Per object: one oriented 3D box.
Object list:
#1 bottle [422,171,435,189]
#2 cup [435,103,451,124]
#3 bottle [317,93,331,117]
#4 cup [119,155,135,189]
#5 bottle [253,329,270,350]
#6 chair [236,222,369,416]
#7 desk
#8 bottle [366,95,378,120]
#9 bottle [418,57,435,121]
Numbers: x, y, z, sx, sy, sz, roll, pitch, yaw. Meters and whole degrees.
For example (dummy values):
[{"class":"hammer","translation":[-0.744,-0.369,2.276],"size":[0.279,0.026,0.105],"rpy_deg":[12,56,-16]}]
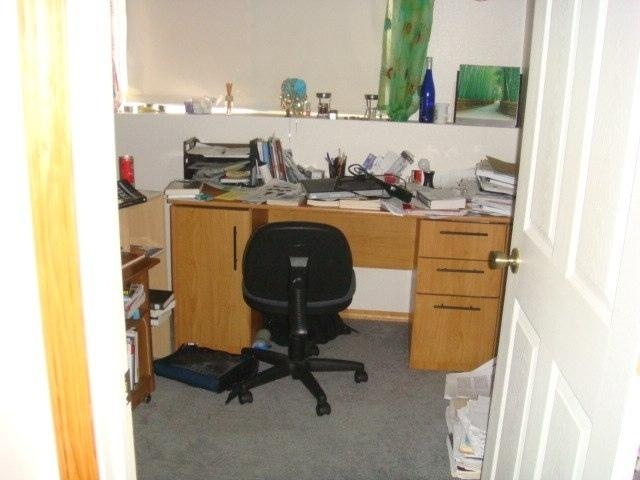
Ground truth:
[{"class":"bottle","translation":[0.620,-0.356,3.049],"size":[0.084,0.130,0.099],"rpy_deg":[1,8,3]},{"class":"cup","translation":[0.704,-0.730,3.004],"size":[0.086,0.112,0.056],"rpy_deg":[-2,17,-4]},{"class":"bottle","translation":[0.024,-0.800,3.078],"size":[0.081,0.142,0.155],"rpy_deg":[-1,17,1]},{"class":"cup","translation":[-0.952,-0.323,2.564],"size":[0.072,0.134,0.075],"rpy_deg":[-7,-12,-1]},{"class":"bottle","translation":[-0.308,0.537,2.814],"size":[0.067,0.029,0.091],"rpy_deg":[-4,52,26]},{"class":"chair","translation":[-0.121,0.313,2.471],"size":[0.561,0.873,0.639],"rpy_deg":[8,13,29]},{"class":"desk","translation":[0.054,0.336,2.822],"size":[1.633,0.559,0.831],"rpy_deg":[4,60,-3]},{"class":"bottle","translation":[0.304,-0.790,3.079],"size":[0.075,0.141,0.099],"rpy_deg":[0,17,5]},{"class":"bottle","translation":[0.608,-0.861,2.991],"size":[0.090,0.358,0.109],"rpy_deg":[-12,20,-32]}]
